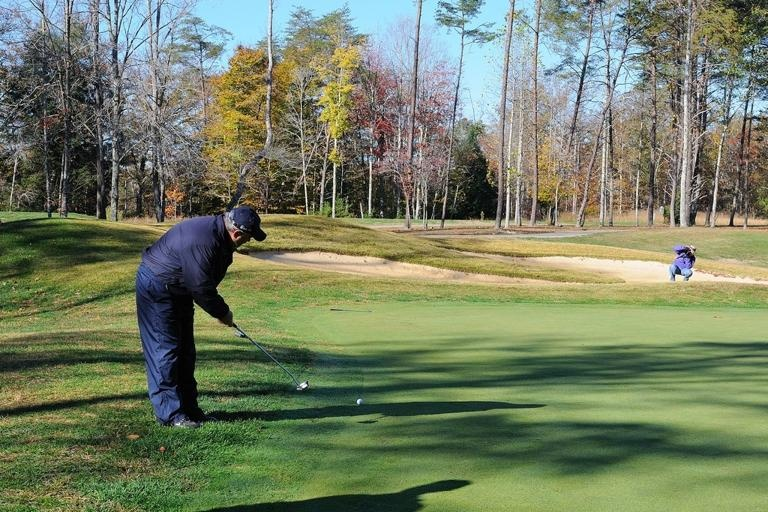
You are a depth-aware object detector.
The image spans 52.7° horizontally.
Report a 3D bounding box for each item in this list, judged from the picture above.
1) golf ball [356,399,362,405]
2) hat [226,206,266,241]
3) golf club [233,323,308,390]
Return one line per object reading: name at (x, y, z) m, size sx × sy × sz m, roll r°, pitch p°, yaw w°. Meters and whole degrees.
golf ball at (-0.373, 2.247, 12.008) m, size 0.093 × 0.066 × 0.105 m, roll 0°, pitch 10°, yaw -2°
hat at (-2.017, -0.478, 11.572) m, size 0.378 × 0.526 × 0.470 m, roll 11°, pitch 15°, yaw 43°
golf club at (-1.980, 1.576, 12.717) m, size 1.805 × 0.193 × 0.338 m, roll 40°, pitch 18°, yaw 16°
